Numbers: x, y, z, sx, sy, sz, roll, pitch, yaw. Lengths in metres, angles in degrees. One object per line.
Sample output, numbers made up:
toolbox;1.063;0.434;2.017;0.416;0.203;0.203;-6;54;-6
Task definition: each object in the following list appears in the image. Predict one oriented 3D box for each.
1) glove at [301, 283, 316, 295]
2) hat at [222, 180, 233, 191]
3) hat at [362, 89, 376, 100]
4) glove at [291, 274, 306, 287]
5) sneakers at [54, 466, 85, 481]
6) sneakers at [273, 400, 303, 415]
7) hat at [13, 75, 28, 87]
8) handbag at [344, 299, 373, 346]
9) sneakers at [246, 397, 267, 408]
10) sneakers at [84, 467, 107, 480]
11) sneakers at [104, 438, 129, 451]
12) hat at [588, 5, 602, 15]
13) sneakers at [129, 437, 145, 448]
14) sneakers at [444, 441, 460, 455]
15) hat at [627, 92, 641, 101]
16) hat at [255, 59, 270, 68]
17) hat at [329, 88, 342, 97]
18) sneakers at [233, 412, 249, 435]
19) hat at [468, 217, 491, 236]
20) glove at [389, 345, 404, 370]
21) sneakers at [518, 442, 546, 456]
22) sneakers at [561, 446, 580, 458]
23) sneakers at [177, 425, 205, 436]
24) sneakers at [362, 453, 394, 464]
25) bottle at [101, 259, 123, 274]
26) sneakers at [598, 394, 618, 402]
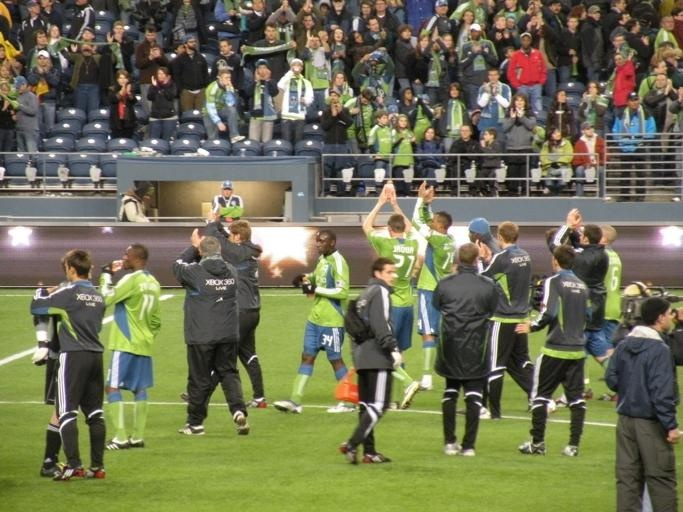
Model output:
glove;-0.580;0.540;24.302;0.274;0.163;0.165;1;0;32
hat;-2.118;-1.305;27.676;0.162;0.126;0.254;0;-2;-6
hat;0.650;-3.910;36.372;0.322;0.308;0.238;6;-4;-20
glove;-0.697;0.412;24.553;0.185;0.182;0.429;0;0;-2
sneakers;-3.940;3.147;21.661;0.499;0.222;0.184;1;2;3
sneakers;-0.875;2.469;24.619;0.459;0.217;0.193;20;-38;-8
hat;-7.894;-4.282;36.850;0.261;0.210;0.358;1;44;-12
handbag;0.246;0.956;22.262;0.438;0.689;0.208;0;1;8
sneakers;-1.422;2.441;24.893;0.315;0.136;0.134;4;5;8
sneakers;-3.582;3.147;21.766;0.276;0.154;0.134;8;13;8
sneakers;-3.440;2.893;22.862;0.355;0.143;0.134;3;1;2
hat;6.569;-6.357;39.089;0.224;0.303;0.302;-5;46;-21
sneakers;-3.145;2.863;22.989;0.238;0.143;0.186;0;0;-10
sneakers;1.661;2.915;22.624;0.222;0.204;0.075;0;1;-6
hat;7.023;-3.807;35.780;0.309;0.214;0.494;0;11;9
hat;-1.959;-4.717;36.588;0.274;0.267;0.350;-1;13;-5
hat;-0.193;-3.930;35.929;0.265;0.153;0.283;4;2;8
sneakers;-1.572;2.583;23.338;0.169;0.446;0.204;-10;20;-6
hat;2.291;-0.450;24.535;0.445;0.287;0.314;-7;17;-42
glove;0.837;1.509;22.116;0.100;0.344;0.248;-6;-2;-12
sneakers;2.889;2.921;22.762;0.321;0.144;0.187;5;4;30
sneakers;3.448;2.962;22.642;0.214;0.204;0.136;0;2;-4
sneakers;-2.351;2.737;23.543;0.437;0.176;0.157;3;2;13
sneakers;0.539;3.032;22.462;0.452;0.187;0.158;-1;0;-2
bottle;-3.964;0.174;25.731;0.295;0.109;0.214;-23;29;-15
sneakers;4.494;2.423;25.473;0.120;0.107;0.344;-2;-2;40
